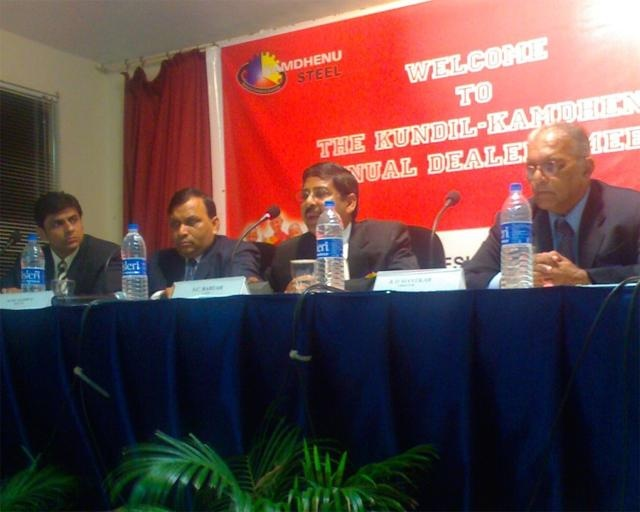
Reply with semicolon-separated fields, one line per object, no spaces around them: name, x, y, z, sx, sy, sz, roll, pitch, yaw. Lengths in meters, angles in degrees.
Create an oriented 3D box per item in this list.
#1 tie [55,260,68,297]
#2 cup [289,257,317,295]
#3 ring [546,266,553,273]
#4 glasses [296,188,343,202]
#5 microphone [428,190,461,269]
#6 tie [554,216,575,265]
tie;-1.125;0.096;2.531;0.055;0.189;0.055;6;-12;-31
cup;-0.043;0.061;1.726;0.115;0.095;0.119;1;1;0
ring;0.663;0.040;1.686;0.016;0.016;0.020;14;9;20
glasses;-0.012;-0.311;2.970;0.194;0.069;0.061;-4;11;21
microphone;0.669;-0.129;3.099;0.202;0.497;0.152;-6;-38;10
tie;1.028;-0.068;2.440;0.082;0.176;0.165;-4;11;23
